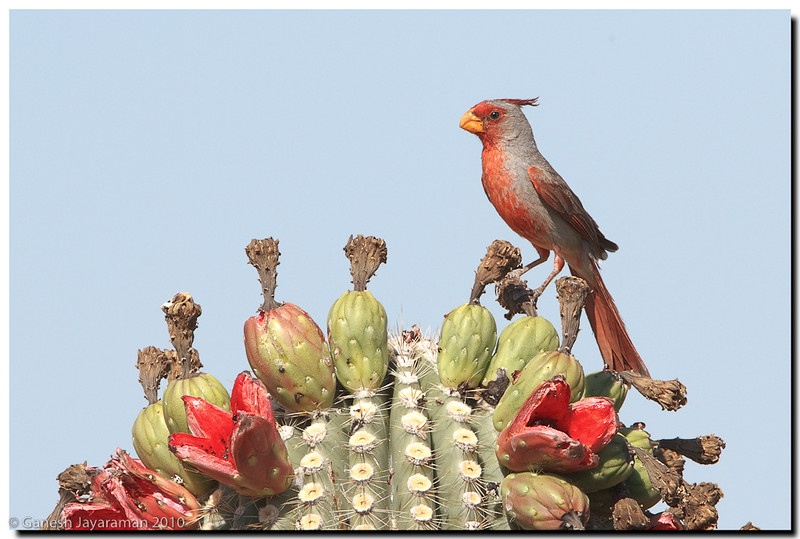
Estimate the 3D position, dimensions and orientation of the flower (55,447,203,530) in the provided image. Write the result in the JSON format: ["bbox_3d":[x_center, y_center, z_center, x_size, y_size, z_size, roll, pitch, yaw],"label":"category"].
[{"bbox_3d":[-2.193,1.808,10.439,1.121,0.599,0.594,5,-45,-10],"label":"flower"}]
